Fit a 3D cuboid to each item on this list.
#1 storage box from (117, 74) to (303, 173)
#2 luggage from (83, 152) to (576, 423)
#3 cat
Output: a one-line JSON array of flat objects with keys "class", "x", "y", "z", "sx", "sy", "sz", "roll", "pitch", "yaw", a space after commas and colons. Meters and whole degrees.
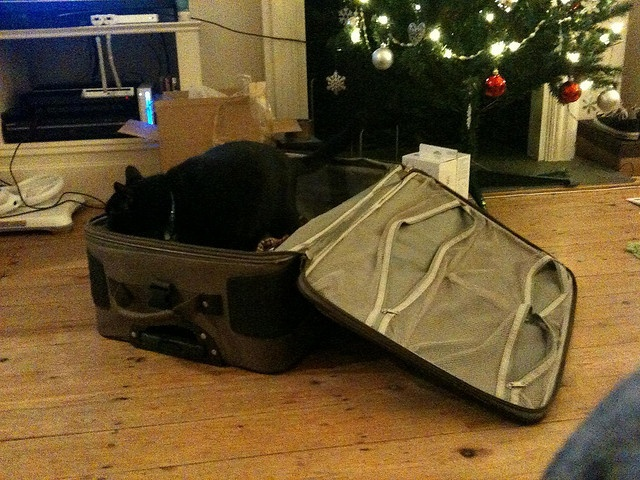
[{"class": "storage box", "x": -0.402, "y": -0.487, "z": 2.308, "sx": 0.762, "sy": 0.359, "sz": 0.397, "roll": -1, "pitch": 26, "yaw": 3}, {"class": "luggage", "x": -0.011, "y": 0.129, "z": 1.430, "sx": 1.109, "sy": 0.214, "sz": 0.690, "roll": 9, "pitch": 27, "yaw": 17}, {"class": "cat", "x": -0.140, "y": -0.155, "z": 1.576, "sx": 0.805, "sy": 0.269, "sz": 0.219, "roll": -12, "pitch": 19, "yaw": -16}]
